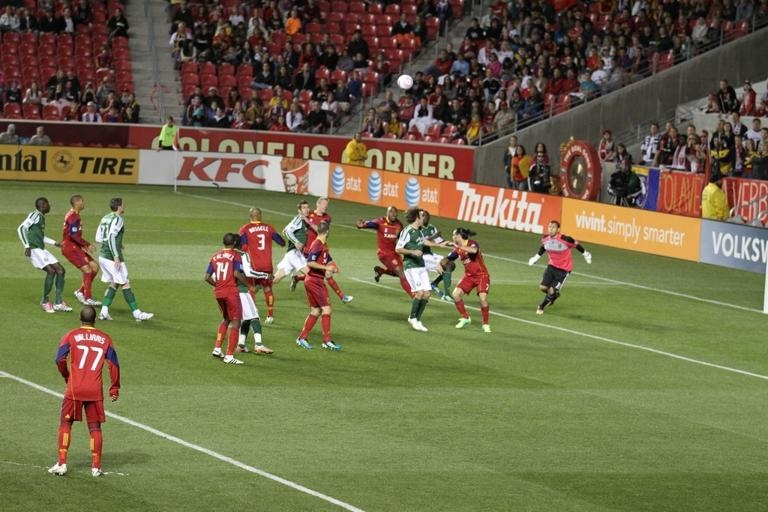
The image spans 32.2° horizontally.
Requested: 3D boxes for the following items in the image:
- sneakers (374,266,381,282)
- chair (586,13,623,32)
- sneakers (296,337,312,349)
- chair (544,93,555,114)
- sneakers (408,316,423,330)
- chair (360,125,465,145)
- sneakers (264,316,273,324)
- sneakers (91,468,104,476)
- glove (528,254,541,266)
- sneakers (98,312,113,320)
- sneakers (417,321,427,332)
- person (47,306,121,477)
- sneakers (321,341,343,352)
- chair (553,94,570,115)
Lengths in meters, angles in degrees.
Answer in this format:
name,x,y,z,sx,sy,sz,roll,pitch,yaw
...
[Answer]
name,x,y,z,sx,sy,sz,roll,pitch,yaw
sneakers,-0.188,0.507,35.089,0.161,0.441,0.232,-20,33,-34
chair,8.337,-8.998,50.770,1.028,1.169,1.124,3,11,20
sneakers,-1.882,1.989,30.461,0.390,0.249,0.296,2,2,8
chair,5.971,-5.615,48.496,0.306,0.667,0.444,3,2,27
sneakers,0.693,1.600,32.070,0.172,0.175,0.432,-9,23,-28
chair,1.468,-4.454,50.354,4.734,0.740,0.949,2,22,21
sneakers,-2.817,1.544,32.172,0.149,0.180,0.182,8,-42,-8
sneakers,-5.356,4.020,24.729,0.163,0.074,0.180,3,2,-5
glove,3.763,0.047,34.066,0.287,0.228,0.692,-27,-11,-3
sneakers,-6.662,1.422,31.696,0.148,0.160,0.368,20,8,24
sneakers,0.882,1.670,32.157,0.260,0.243,0.529,2,2,1
person,-5.584,2.517,24.801,1.199,3.157,0.740,2,2,-12
sneakers,-1.232,2.045,30.420,0.401,0.169,0.190,2,8,5
chair,6.416,-5.580,48.413,0.484,0.740,0.282,13,-9,28
